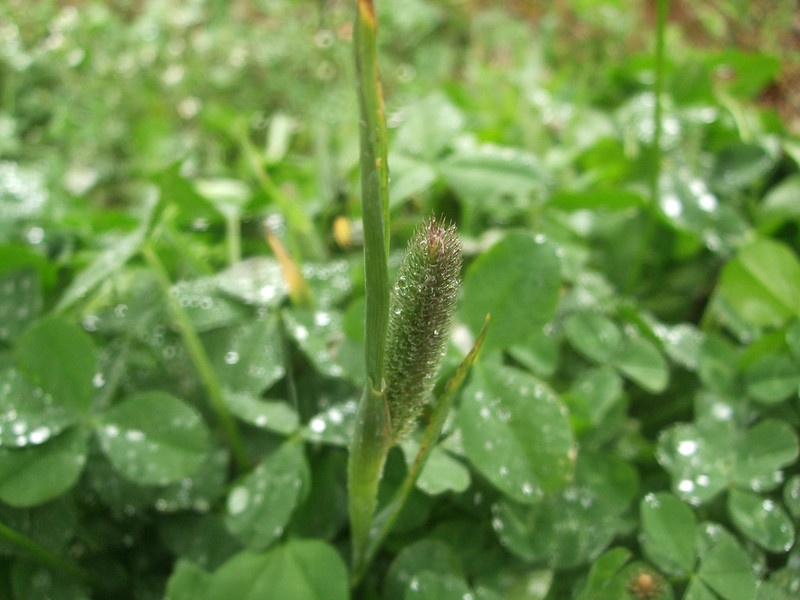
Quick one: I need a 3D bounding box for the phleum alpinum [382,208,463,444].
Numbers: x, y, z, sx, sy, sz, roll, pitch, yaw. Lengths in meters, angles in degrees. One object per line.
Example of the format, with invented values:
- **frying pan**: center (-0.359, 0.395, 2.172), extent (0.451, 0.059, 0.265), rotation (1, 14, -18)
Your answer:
- **phleum alpinum**: center (0.011, 0.027, 0.534), extent (0.041, 0.127, 0.093), rotation (13, 51, 1)
